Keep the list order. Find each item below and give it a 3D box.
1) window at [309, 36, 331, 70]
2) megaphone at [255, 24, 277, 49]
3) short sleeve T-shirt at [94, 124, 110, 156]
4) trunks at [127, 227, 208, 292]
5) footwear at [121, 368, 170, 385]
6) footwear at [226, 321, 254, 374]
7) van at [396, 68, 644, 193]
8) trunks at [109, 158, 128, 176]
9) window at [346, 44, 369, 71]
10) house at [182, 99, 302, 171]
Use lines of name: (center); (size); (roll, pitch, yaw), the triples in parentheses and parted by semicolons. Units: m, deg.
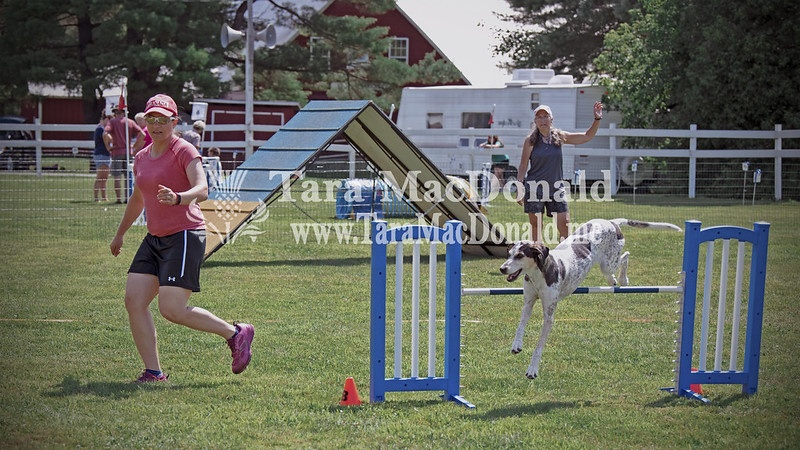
window: (-3.392, -7.191, 50.204); (0.914, 1.390, 0.961); (1, 2, -5)
megaphone: (-4.330, -6.098, 38.435); (0.530, 0.683, 0.734); (-1, 3, -44)
short sleeve T-shirt: (-9.194, -2.599, 36.794); (0.538, 0.976, 0.966); (-2, 2, -17)
trunks: (-5.246, 0.816, 27.514); (2.144, 1.528, 1.261); (9, -6, 24)
footwear: (-5.751, 3.456, 27.164); (0.809, 0.344, 0.301); (2, -4, -3)
footwear: (-3.623, 2.755, 27.351); (0.613, 1.258, 0.445); (8, -3, -34)
van: (4.086, -3.605, 47.450); (8.499, 4.441, 2.887); (2, -2, 34)
trunks: (-8.389, -1.704, 35.454); (0.343, 0.563, 0.587); (5, 1, 27)
window: (-1.846, -7.012, 50.584); (0.773, 0.672, 0.804); (0, -8, -6)
house: (-6.169, -4.082, 47.584); (4.049, 2.485, 4.028); (-2, 4, -21)
